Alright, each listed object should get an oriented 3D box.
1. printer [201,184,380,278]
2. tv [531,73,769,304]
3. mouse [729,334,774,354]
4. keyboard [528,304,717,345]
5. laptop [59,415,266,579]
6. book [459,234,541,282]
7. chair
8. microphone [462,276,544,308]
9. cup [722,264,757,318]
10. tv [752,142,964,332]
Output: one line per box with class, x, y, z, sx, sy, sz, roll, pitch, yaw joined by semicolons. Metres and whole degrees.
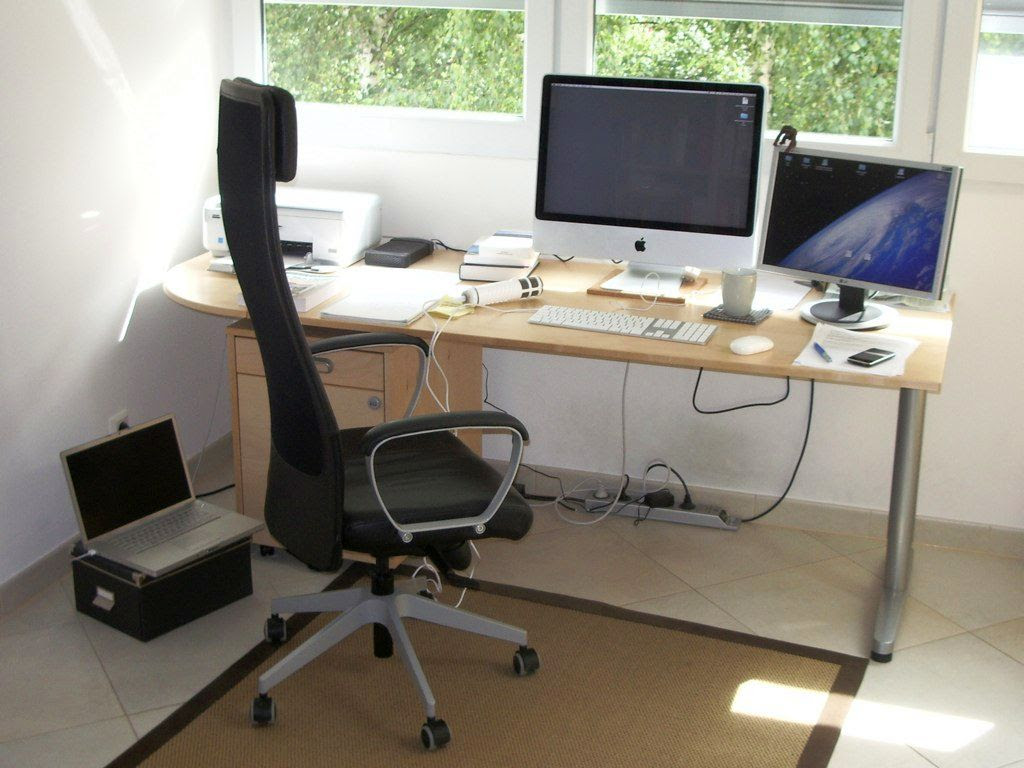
printer;-0.697;-0.628;3.119;0.438;0.178;0.411;6;18;12
tv;0.473;-0.659;2.845;0.723;0.653;0.262;6;24;13
mouse;0.685;-0.113;2.419;0.134;0.034;0.088;-19;28;-40
keyboard;0.343;-0.192;2.616;0.557;0.035;0.211;8;22;19
laptop;-1.139;0.415;2.742;0.517;0.332;0.526;17;24;30
book;-0.056;-0.479;2.974;0.194;0.050;0.205;12;26;32
chair;-0.347;0.079;2.222;0.778;1.652;0.653;-3;20;-8
microphone;-0.018;-0.327;2.823;0.337;0.097;0.097;-9;-8;-41
cup;0.704;-0.284;2.628;0.107;0.144;0.141;-2;12;-4
tv;1.083;-0.460;2.653;0.523;0.522;0.216;15;29;37
